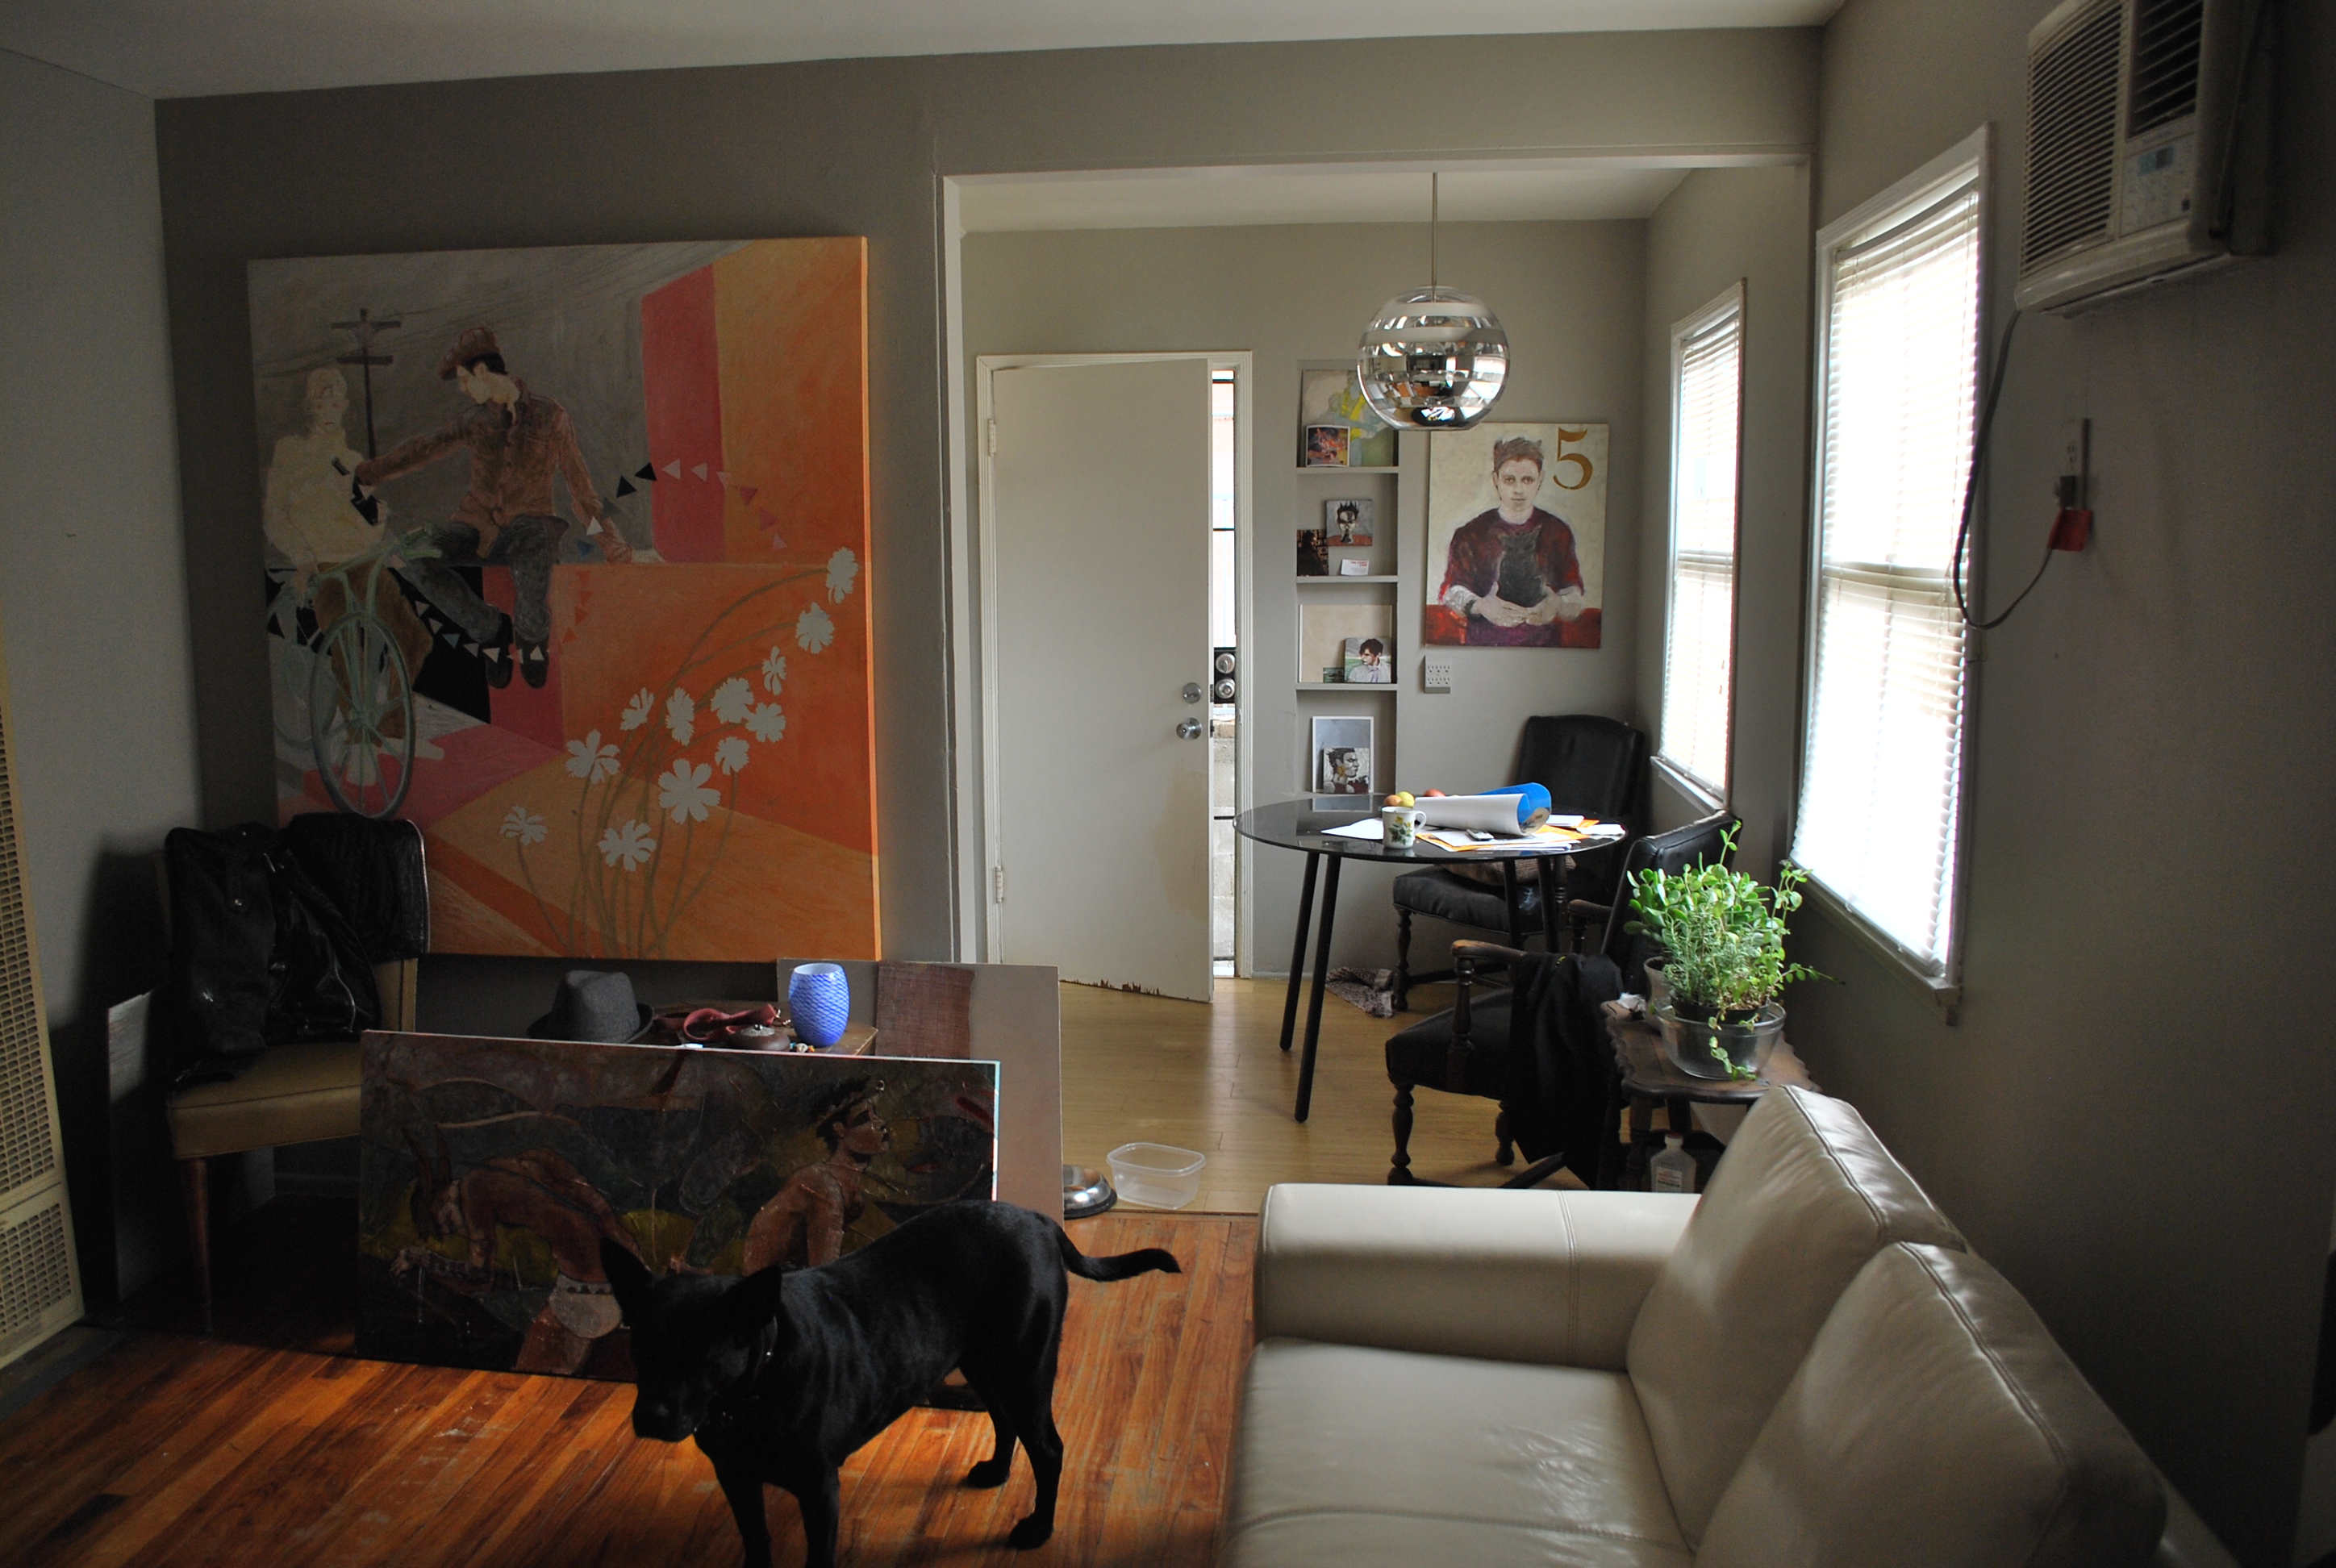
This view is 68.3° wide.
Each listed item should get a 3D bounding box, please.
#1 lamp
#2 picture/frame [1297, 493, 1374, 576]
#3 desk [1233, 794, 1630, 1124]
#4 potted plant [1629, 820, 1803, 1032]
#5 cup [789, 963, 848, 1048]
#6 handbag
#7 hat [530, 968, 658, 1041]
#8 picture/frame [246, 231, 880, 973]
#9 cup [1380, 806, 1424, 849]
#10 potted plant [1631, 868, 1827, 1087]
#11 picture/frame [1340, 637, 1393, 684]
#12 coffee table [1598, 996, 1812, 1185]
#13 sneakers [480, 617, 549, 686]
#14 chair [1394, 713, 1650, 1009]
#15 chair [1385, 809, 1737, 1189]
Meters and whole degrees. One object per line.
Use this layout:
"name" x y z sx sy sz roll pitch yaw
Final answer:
"lamp" 0.752 -1.427 4.957 0.382 0.767 0.385 -2 13 -7
"picture/frame" 0.658 -0.992 6.849 0.306 0.320 0.032 1 0 -2
"desk" 0.849 0.439 5.907 1.154 0.882 1.169 1 5 9
"potted plant" 1.374 0.362 4.349 0.402 0.456 0.358 1 8 -33
"cup" -0.949 0.601 4.721 0.188 0.255 0.189 1 -2 0
"handbag" -2.455 0.385 4.838 0.606 0.630 0.253 -2 -6 -42
"hat" -1.560 0.603 4.772 0.191 0.100 0.257 8 12 16
"picture/frame" -1.697 -0.590 4.971 2.037 2.294 0.087 0 3 4
"cup" 0.744 0.127 5.543 0.123 0.130 0.102 3 -2 -4
"potted plant" 1.390 0.461 4.539 0.500 0.627 0.539 -2 -2 40
"picture/frame" 0.796 -0.492 6.895 0.173 0.180 0.024 1 -5 1
"coffee table" 1.283 0.719 4.171 0.302 0.287 0.563 -2 9 1
"sneakers" -1.895 -0.374 5.016 0.152 0.222 0.077 -2 -1 4
"chair" 1.360 0.292 6.607 0.777 1.137 0.767 -3 8 -28
"chair" 0.928 0.685 4.922 0.655 0.913 0.580 -2 -9 3
